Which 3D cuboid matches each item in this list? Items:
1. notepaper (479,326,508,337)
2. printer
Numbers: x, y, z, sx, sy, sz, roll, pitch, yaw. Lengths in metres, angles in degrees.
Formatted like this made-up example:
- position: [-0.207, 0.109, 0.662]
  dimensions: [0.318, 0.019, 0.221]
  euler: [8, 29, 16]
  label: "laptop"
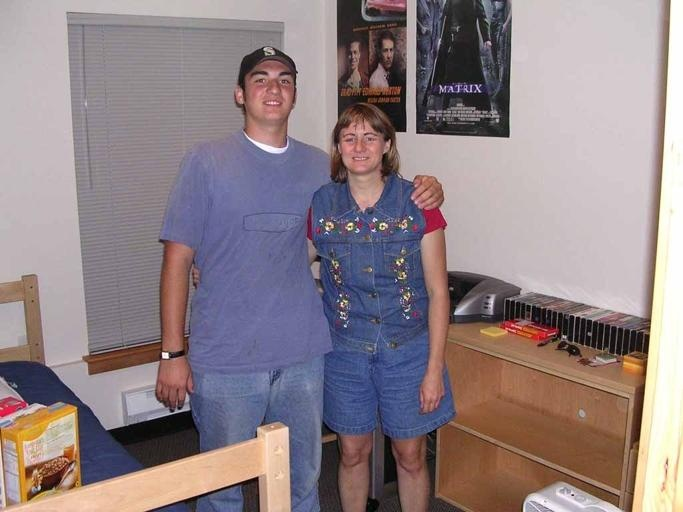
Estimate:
- position: [0.683, 0.336, 2.461]
  dimensions: [0.113, 0.021, 0.097]
  euler: [-12, 15, -37]
  label: "notepaper"
- position: [0.658, 0.198, 2.619]
  dimensions: [0.257, 0.097, 0.253]
  euler: [-9, 13, -41]
  label: "printer"
